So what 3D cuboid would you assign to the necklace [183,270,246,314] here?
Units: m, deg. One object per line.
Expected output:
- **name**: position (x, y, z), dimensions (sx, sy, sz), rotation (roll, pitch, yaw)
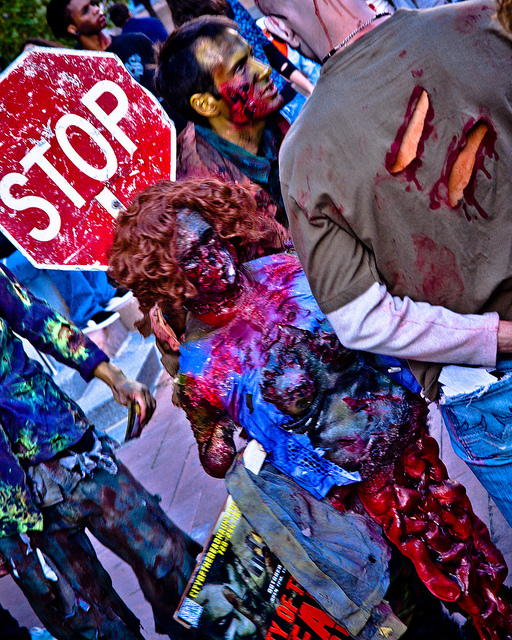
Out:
- **necklace**: position (-0.104, -0.064, 1.801), dimensions (0.191, 0.048, 0.080), rotation (-33, 85, -10)
